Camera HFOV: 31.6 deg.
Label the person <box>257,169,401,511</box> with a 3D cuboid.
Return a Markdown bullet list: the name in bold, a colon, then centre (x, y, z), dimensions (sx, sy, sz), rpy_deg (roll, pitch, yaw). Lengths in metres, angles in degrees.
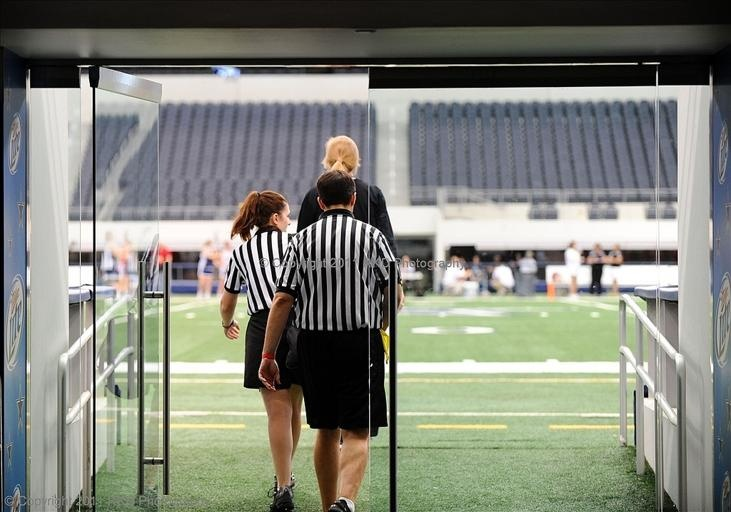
- **person**: centre (-0.198, 0.462, 6.959), dimensions (0.716, 1.845, 0.349), rpy_deg (0, 0, -2)
